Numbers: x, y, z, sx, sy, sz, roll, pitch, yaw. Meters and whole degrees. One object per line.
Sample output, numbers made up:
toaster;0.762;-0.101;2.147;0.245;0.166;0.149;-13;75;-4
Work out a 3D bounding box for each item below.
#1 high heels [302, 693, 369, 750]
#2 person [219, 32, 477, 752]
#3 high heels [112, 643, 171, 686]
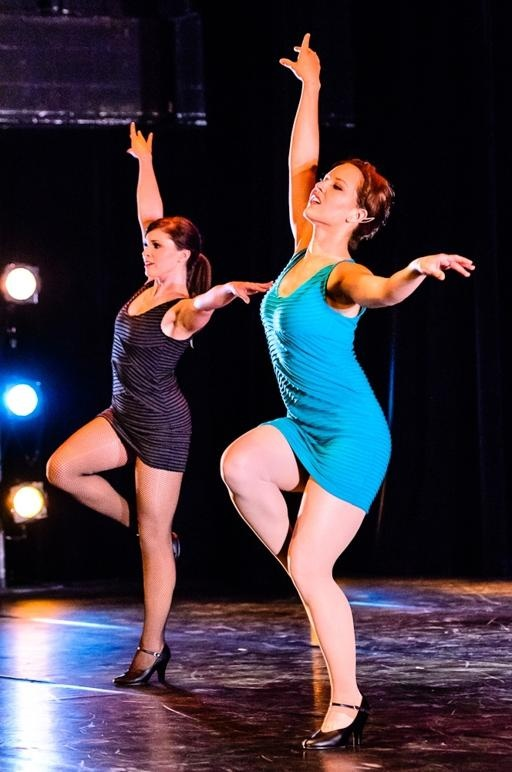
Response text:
high heels;0.162;0.683;1.740;0.177;0.081;0.063;-5;15;-28
person;0.145;0.176;1.880;0.439;1.332;0.751;1;14;-2
high heels;-0.302;0.783;2.415;0.179;0.100;0.069;4;-9;-29
